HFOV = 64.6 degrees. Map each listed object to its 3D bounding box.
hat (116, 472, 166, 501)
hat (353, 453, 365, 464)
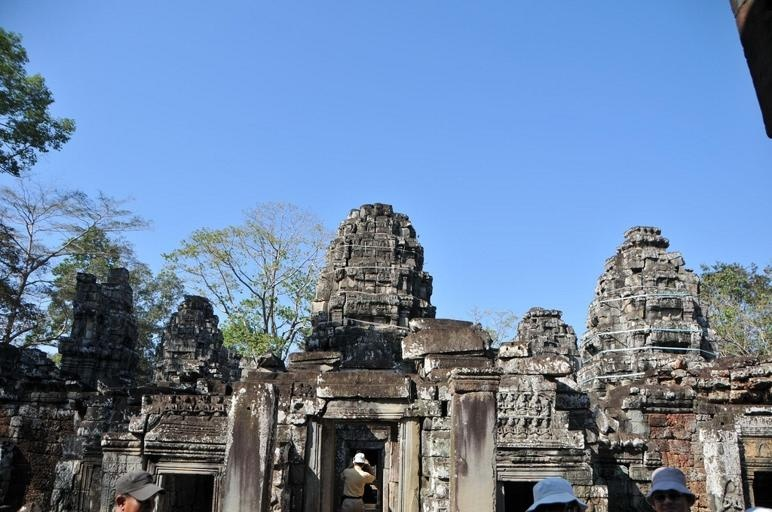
[{"bbox_3d":[-3.253,3.061,8.108,0.534,0.277,0.346,-13,-25,12],"label":"hat"},{"bbox_3d":[-0.665,4.918,14.806,0.290,0.242,0.468,4,-8,-1],"label":"hat"}]
